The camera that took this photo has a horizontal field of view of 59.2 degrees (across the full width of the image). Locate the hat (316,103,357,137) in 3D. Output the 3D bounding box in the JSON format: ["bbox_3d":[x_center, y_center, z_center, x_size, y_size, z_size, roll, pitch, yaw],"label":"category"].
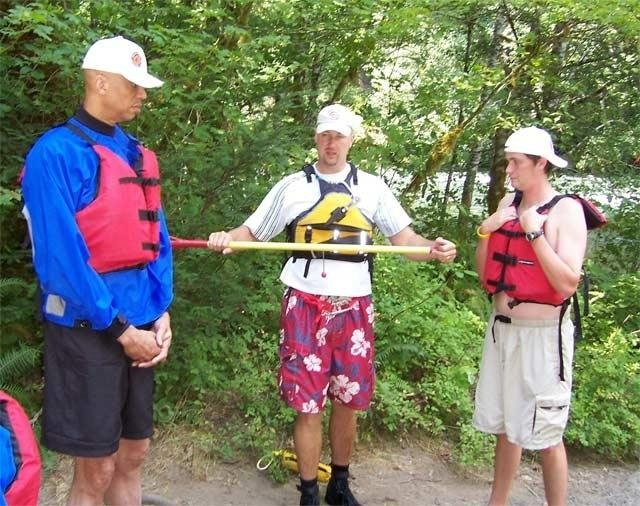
[{"bbox_3d":[0.121,-0.873,3.852,0.197,0.156,0.271,5,5,5],"label":"hat"}]

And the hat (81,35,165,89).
[{"bbox_3d":[-1.135,-1.051,3.202,0.377,0.206,0.262,5,17,-12],"label":"hat"}]

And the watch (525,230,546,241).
[{"bbox_3d":[1.329,-0.092,3.475,0.090,0.056,0.093,-3,-24,-45],"label":"watch"}]

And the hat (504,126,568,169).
[{"bbox_3d":[1.394,-0.665,3.657,0.356,0.205,0.261,7,11,0],"label":"hat"}]
